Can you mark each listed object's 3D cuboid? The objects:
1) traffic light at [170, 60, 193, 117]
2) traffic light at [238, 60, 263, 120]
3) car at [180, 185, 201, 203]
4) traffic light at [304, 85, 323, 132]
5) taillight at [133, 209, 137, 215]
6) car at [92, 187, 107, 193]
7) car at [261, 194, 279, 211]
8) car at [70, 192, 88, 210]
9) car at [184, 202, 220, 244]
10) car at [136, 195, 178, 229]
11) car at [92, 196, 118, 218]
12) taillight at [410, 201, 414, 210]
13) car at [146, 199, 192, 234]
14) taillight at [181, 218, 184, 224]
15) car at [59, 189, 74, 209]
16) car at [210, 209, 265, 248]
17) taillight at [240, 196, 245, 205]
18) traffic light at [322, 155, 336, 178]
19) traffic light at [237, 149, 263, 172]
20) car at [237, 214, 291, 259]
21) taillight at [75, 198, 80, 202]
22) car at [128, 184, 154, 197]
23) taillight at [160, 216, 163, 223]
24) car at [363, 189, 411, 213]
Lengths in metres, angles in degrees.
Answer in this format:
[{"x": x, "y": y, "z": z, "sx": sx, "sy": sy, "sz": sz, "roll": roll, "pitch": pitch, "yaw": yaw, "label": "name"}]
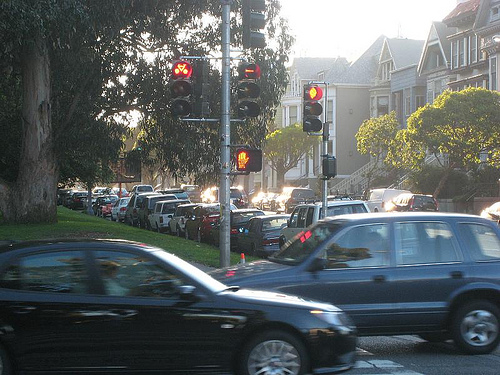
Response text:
[{"x": -1.411, "y": -2.023, "z": 14.054, "sx": 0.448, "sy": 1.282, "sz": 0.383, "roll": -1, "pitch": -8, "yaw": 7, "label": "traffic light"}, {"x": -0.019, "y": -2.057, "z": 14.475, "sx": 0.568, "sy": 1.195, "sz": 0.525, "roll": 9, "pitch": 6, "yaw": -2, "label": "traffic light"}, {"x": -4.799, "y": 0.731, "z": 54.693, "sx": 1.660, "sy": 1.516, "sz": 2.912, "roll": 0, "pitch": 4, "yaw": -4, "label": "car"}, {"x": 1.519, "y": -1.929, "z": 16.695, "sx": 0.603, "sy": 1.136, "sz": 0.459, "roll": 11, "pitch": 6, "yaw": 9, "label": "traffic light"}, {"x": -6.603, "y": 1.386, "z": 39.160, "sx": 0.249, "sy": 0.282, "sz": 0.245, "roll": -4, "pitch": 4, "yaw": -22, "label": "taillight"}, {"x": -15.970, "y": 0.243, "z": 72.077, "sx": 0.972, "sy": 0.664, "sz": 1.525, "roll": 0, "pitch": 1, "yaw": 4, "label": "car"}, {"x": 1.751, "y": 1.260, "z": 58.415, "sx": 1.245, "sy": 1.036, "sz": 2.752, "roll": 0, "pitch": 3, "yaw": -4, "label": "car"}, {"x": -14.860, "y": 1.145, "z": 59.354, "sx": 1.222, "sy": 1.089, "sz": 2.169, "roll": -1, "pitch": 4, "yaw": -12, "label": "car"}, {"x": -2.044, "y": 1.475, "z": 28.595, "sx": 1.495, "sy": 1.452, "sz": 3.166, "roll": 0, "pitch": 0, "yaw": -27, "label": "car"}, {"x": -5.086, "y": 1.338, "z": 37.471, "sx": 2.037, "sy": 1.951, "sz": 2.007, "roll": 1, "pitch": 2, "yaw": -20, "label": "car"}, {"x": -10.725, "y": 1.362, "z": 50.478, "sx": 1.386, "sy": 1.143, "sz": 2.427, "roll": -1, "pitch": 4, "yaw": -19, "label": "car"}, {"x": 8.274, "y": 0.900, "z": 34.926, "sx": 0.123, "sy": 0.318, "sz": 0.409, "roll": 11, "pitch": 6, "yaw": 10, "label": "taillight"}, {"x": -4.374, "y": 1.342, "z": 34.770, "sx": 1.380, "sy": 1.107, "sz": 2.198, "roll": -2, "pitch": 5, "yaw": -17, "label": "car"}, {"x": -3.117, "y": 1.528, "z": 31.540, "sx": 0.176, "sy": 0.333, "sz": 0.191, "roll": 2, "pitch": -1, "yaw": 1, "label": "taillight"}, {"x": -17.821, "y": 1.155, "z": 67.017, "sx": 1.695, "sy": 1.572, "sz": 2.812, "roll": -1, "pitch": 7, "yaw": -29, "label": "car"}, {"x": -0.322, "y": 1.580, "z": 26.874, "sx": 1.934, "sy": 1.537, "sz": 2.164, "roll": -2, "pitch": -1, "yaw": -19, "label": "car"}, {"x": -0.523, "y": 0.890, "z": 45.855, "sx": 0.298, "sy": 0.456, "sz": 0.359, "roll": 9, "pitch": 6, "yaw": -9, "label": "taillight"}, {"x": 1.949, "y": -0.524, "z": 16.893, "sx": 0.348, "sy": 0.541, "sz": 0.405, "roll": 10, "pitch": 6, "yaw": 5, "label": "traffic light"}, {"x": -0.015, "y": -0.581, "z": 14.475, "sx": 0.484, "sy": 0.421, "sz": 0.467, "roll": 0, "pitch": -2, "yaw": 1, "label": "traffic light"}, {"x": 0.618, "y": 1.622, "z": 23.424, "sx": 1.479, "sy": 1.539, "sz": 1.537, "roll": -4, "pitch": 1, "yaw": -32, "label": "car"}, {"x": -14.865, "y": 1.028, "z": 58.872, "sx": 0.273, "sy": 0.262, "sz": 0.188, "roll": 3, "pitch": 5, "yaw": -1, "label": "taillight"}, {"x": -9.490, "y": 0.383, "z": 60.322, "sx": 1.277, "sy": 1.074, "sz": 2.357, "roll": 0, "pitch": 1, "yaw": -15, "label": "car"}, {"x": -4.386, "y": 1.572, "z": 33.814, "sx": 0.236, "sy": 0.318, "sz": 0.059, "roll": 14, "pitch": 8, "yaw": 34, "label": "taillight"}, {"x": 8.727, "y": 0.937, "z": 44.144, "sx": 2.226, "sy": 1.940, "sz": 4.994, "roll": -5, "pitch": 1, "yaw": -7, "label": "car"}]
